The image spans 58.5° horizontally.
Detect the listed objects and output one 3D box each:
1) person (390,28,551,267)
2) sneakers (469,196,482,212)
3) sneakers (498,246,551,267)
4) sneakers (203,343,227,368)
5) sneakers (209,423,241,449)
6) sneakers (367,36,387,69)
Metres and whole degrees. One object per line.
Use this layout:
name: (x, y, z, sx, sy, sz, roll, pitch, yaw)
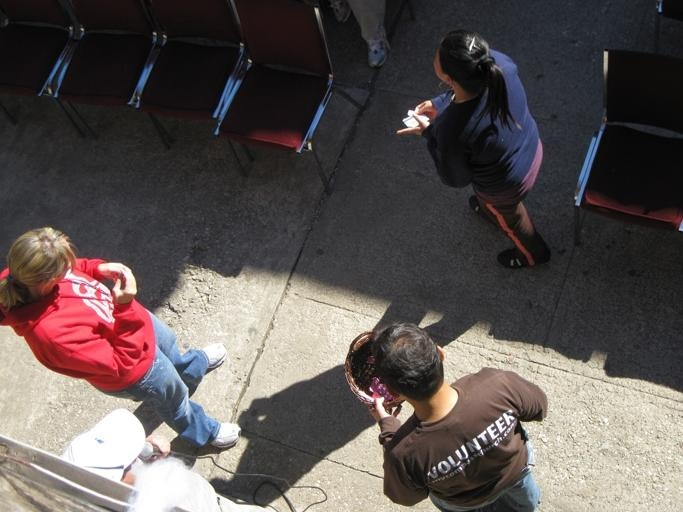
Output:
person: (0.997, -0.671, 4.156, 1.022, 1.795, 0.690, 8, 64, 17)
sneakers: (1.027, -0.404, 4.680, 0.115, 0.087, 0.035, 43, 48, 14)
sneakers: (1.394, 0.025, 4.654, 0.377, 0.274, 0.165, 10, 86, 17)
sneakers: (-0.976, 0.771, 4.759, 0.235, 0.101, 0.111, -43, 82, 18)
sneakers: (-0.842, 1.322, 4.475, 0.217, 0.091, 0.150, -12, 80, 4)
sneakers: (0.322, -1.810, 5.419, 0.096, 0.122, 0.321, 1, 89, 12)
